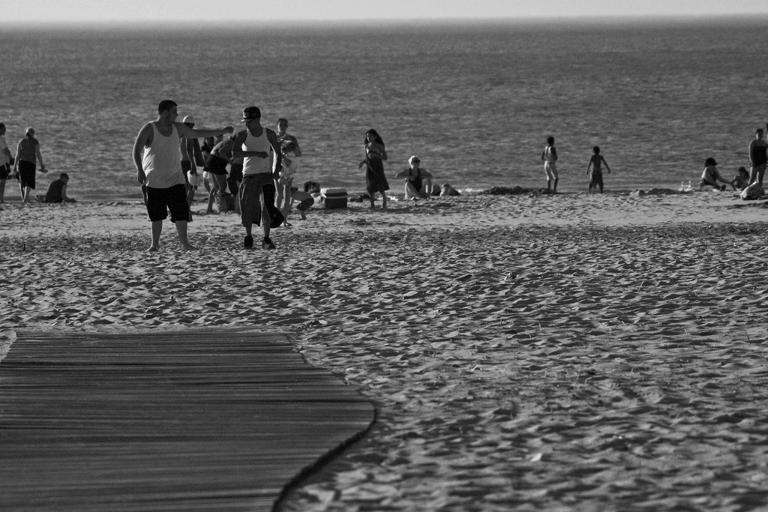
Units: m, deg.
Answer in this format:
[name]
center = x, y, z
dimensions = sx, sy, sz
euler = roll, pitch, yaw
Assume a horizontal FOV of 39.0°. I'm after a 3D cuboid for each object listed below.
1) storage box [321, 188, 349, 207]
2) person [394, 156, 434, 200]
[storage box]
center = -0.933, -1.096, 20.246
dimensions = 0.441, 0.310, 0.401
euler = -1, 6, -11
[person]
center = 0.609, -1.552, 21.971
dimensions = 0.825, 0.821, 0.647
euler = -2, 8, -33
